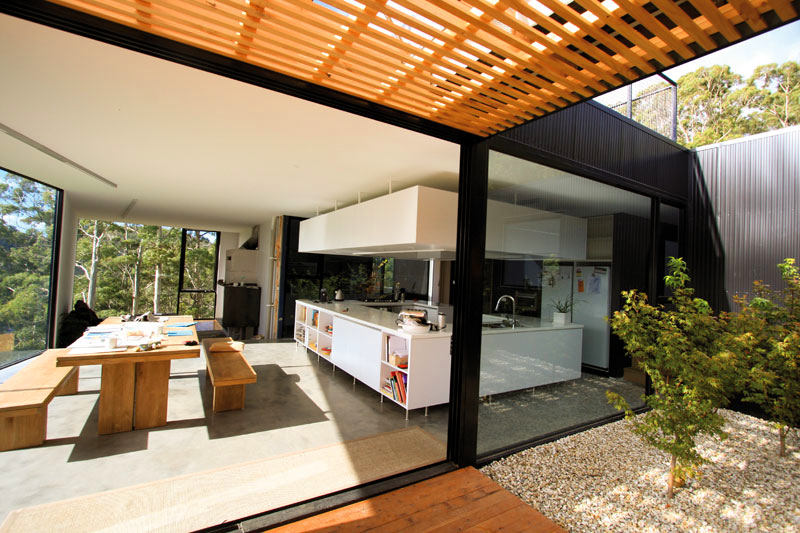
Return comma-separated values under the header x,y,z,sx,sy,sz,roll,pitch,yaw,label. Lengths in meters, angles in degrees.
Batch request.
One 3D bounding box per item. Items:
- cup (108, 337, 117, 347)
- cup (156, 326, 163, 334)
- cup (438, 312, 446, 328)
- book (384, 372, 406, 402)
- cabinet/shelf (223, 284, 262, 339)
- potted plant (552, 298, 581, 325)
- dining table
x,y,z,sx,sy,sz,roll,pitch,yaw,label
-3.045,0.799,5.030,0.089,0.096,0.088,1,-1,0,cup
-2.884,0.762,5.705,0.075,0.068,0.071,1,-4,0,cup
0.530,0.704,6.253,0.158,0.247,0.168,0,-1,0,cup
-0.012,1.505,6.033,0.134,0.302,0.458,0,0,-31,book
-3.975,0.723,11.834,0.869,0.997,1.564,1,16,-26,cabinet/shelf
1.940,0.518,5.614,0.298,0.283,0.292,1,3,-31,potted plant
-3.085,1.264,5.549,1.261,1.123,1.487,-1,0,-25,dining table
